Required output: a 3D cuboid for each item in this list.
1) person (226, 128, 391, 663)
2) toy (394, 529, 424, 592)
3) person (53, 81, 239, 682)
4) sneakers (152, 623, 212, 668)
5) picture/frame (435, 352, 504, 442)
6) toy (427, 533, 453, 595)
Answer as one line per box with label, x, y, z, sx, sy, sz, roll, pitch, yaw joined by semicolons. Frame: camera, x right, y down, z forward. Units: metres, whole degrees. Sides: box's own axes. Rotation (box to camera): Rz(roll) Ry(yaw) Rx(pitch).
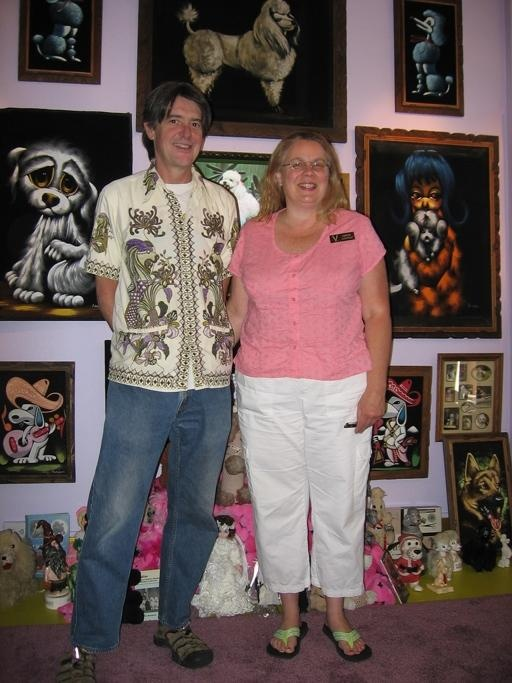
person;0.163;0.165;2.020;0.559;1.722;0.326;1;5;8
toy;0.651;0.933;2.534;0.120;0.223;0.106;4;-7;14
person;-0.303;0.112;1.895;0.551;1.853;0.320;-1;5;-12
sneakers;-0.240;0.973;1.947;0.081;0.081;0.198;3;-1;-39
picture/frame;1.026;0.273;2.907;0.453;0.540;0.040;0;4;-14
toy;0.794;0.954;2.561;0.111;0.230;0.103;2;-1;-1
